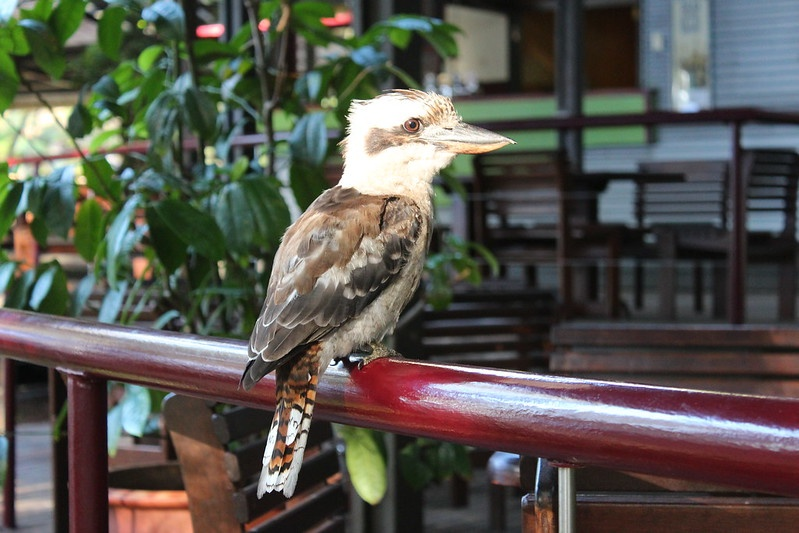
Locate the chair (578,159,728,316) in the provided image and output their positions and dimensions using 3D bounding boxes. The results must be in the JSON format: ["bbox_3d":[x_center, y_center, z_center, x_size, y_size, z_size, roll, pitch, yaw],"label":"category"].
[{"bbox_3d":[0.677,-0.090,2.399,0.232,0.298,0.336,1,0,4],"label":"chair"}]

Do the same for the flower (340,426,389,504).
[{"bbox_3d":[-0.098,0.535,2.648,0.129,0.032,0.398,3,14,-12],"label":"flower"}]
